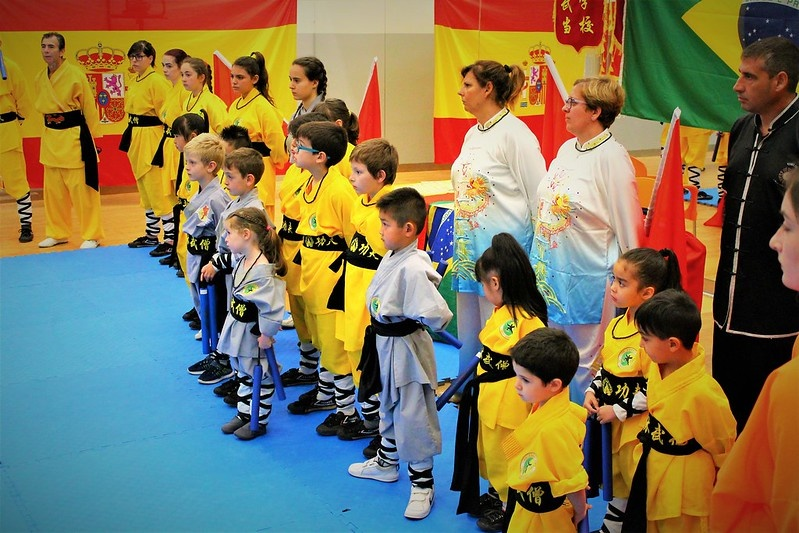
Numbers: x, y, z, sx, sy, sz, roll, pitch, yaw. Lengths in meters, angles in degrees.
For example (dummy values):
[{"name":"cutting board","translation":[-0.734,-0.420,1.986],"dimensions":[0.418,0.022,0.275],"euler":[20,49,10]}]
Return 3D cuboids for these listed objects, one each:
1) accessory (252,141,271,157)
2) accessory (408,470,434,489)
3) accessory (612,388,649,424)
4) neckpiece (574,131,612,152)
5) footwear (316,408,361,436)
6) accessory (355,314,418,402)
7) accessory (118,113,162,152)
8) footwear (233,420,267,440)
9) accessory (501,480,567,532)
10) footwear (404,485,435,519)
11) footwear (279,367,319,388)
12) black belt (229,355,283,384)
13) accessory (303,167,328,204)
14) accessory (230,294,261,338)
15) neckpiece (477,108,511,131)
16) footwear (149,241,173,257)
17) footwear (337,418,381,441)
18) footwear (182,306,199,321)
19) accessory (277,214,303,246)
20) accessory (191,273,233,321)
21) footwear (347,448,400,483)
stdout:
[{"name":"accessory","translation":[-1.234,-1.053,6.196],"dimensions":[0.170,0.161,0.041],"euler":[-1,-14,-39]},{"name":"accessory","translation":[0.119,1.173,3.845],"dimensions":[0.121,0.106,0.107],"euler":[-1,-4,11]},{"name":"accessory","translation":[1.125,0.685,3.376],"dimensions":[0.132,0.153,0.061],"euler":[32,-2,40]},{"name":"neckpiece","translation":[1.096,-0.700,3.911],"dimensions":[0.128,0.036,0.128],"euler":[-20,1,-16]},{"name":"footwear","translation":[-0.394,0.994,4.423],"dimensions":[0.318,0.138,0.123],"euler":[-12,-11,-5]},{"name":"accessory","translation":[-0.103,0.498,3.936],"dimensions":[0.460,0.574,0.311],"euler":[-3,13,-5]},{"name":"accessory","translation":[-2.816,-1.474,7.543],"dimensions":[0.450,0.346,0.353],"euler":[-1,12,-22]},{"name":"footwear","translation":[-0.946,1.052,4.367],"dimensions":[0.176,0.070,0.092],"euler":[-8,30,-26]},{"name":"accessory","translation":[0.642,1.119,3.283],"dimensions":[0.297,0.240,0.252],"euler":[-1,-9,19]},{"name":"footwear","translation":[0.098,1.295,3.763],"dimensions":[0.086,0.080,0.218],"euler":[1,11,14]},{"name":"footwear","translation":[-0.721,0.790,4.941],"dimensions":[0.280,0.121,0.103],"euler":[3,-11,-10]},{"name":"black belt","translation":[-0.953,0.660,4.446],"dimensions":[0.161,0.231,0.231],"euler":[-13,-20,36]},{"name":"accessory","translation":[-0.523,-0.517,4.499],"dimensions":[0.083,0.234,0.133],"euler":[14,11,-44]},{"name":"accessory","translation":[-0.976,0.315,4.376],"dimensions":[0.233,0.189,0.203],"euler":[0,19,-37]},{"name":"neckpiece","translation":[0.578,-0.899,4.300],"dimensions":[0.168,0.040,0.127],"euler":[-36,6,6]},{"name":"footwear","translation":[-2.503,-0.171,7.306],"dimensions":[0.349,0.139,0.126],"euler":[-3,5,4]},{"name":"footwear","translation":[-0.266,1.030,4.372],"dimensions":[0.311,0.124,0.111],"euler":[0,0,-12]},{"name":"footwear","translation":[-1.785,0.419,5.852],"dimensions":[0.076,0.092,0.214],"euler":[6,-5,-36]},{"name":"accessory","translation":[-0.757,-0.257,4.817],"dimensions":[0.167,0.146,0.181],"euler":[7,20,-1]},{"name":"accessory","translation":[-1.342,0.214,4.981],"dimensions":[0.100,0.380,0.102],"euler":[6,-1,26]},{"name":"footwear","translation":[-0.151,1.194,4.085],"dimensions":[0.340,0.149,0.127],"euler":[7,6,13]}]
